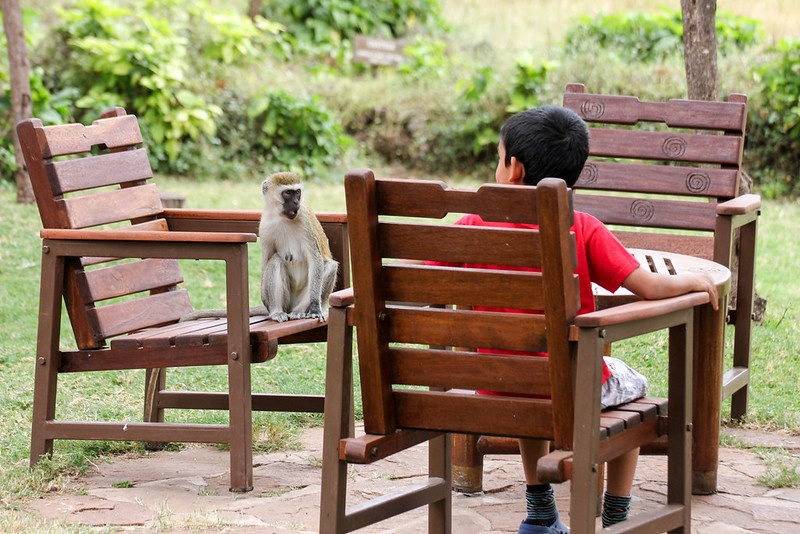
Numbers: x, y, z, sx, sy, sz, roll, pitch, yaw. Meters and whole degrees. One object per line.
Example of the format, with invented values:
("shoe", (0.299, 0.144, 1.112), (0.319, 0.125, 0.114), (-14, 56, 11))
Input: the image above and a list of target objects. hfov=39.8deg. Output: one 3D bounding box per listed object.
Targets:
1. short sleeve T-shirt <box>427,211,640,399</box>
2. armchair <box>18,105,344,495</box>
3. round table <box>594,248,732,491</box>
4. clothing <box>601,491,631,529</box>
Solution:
("short sleeve T-shirt", (0.920, 0.242, 6.764), (1.083, 1.475, 1.175), (1, 1, 18))
("armchair", (-1.539, 0.092, 8.631), (2.541, 3.063, 2.556), (0, 3, 13))
("round table", (1.444, 0.580, 7.560), (1.256, 1.286, 1.379), (-1, 5, 0))
("clothing", (1.247, 1.394, 6.440), (0.217, 0.272, 0.184), (0, 3, 7))
